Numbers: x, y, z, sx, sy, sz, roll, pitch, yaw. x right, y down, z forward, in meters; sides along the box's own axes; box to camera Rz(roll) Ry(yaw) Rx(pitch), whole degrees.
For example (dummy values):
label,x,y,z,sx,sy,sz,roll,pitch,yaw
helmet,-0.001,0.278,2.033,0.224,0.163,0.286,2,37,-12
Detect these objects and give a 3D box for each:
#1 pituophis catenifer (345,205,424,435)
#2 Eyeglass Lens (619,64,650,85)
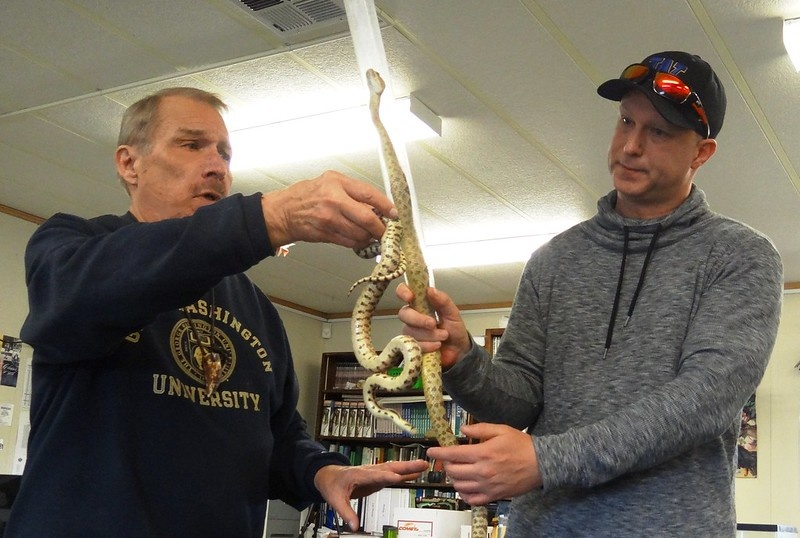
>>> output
label,x,y,z,sx,sy,sz,roll,pitch,yaw
pituophis catenifer,-0.044,0.149,1.646,0.205,0.628,0.091,-1,-5,38
Eyeglass Lens,0.814,-0.656,1.931,0.096,0.035,0.096,12,-21,27
